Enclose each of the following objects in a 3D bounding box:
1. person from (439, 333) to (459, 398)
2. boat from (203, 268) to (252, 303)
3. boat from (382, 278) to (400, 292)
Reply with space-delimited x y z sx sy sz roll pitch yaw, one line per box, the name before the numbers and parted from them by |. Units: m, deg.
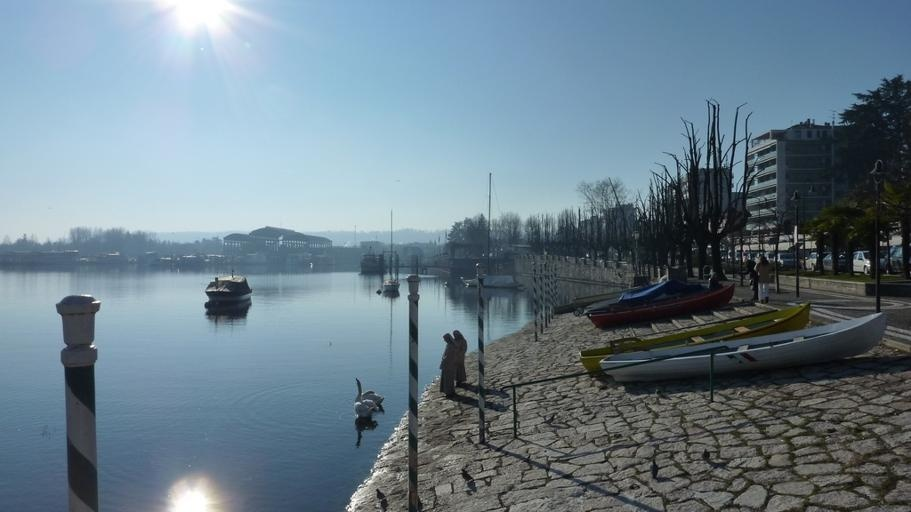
person | -0.406 5.893 39.516 0.892 2.513 1.139 -3 -1 17
boat | -27.534 4.582 89.208 3.898 3.933 8.113 2 5 -2
boat | -9.318 4.526 108.612 2.483 1.514 2.525 -1 -5 26
